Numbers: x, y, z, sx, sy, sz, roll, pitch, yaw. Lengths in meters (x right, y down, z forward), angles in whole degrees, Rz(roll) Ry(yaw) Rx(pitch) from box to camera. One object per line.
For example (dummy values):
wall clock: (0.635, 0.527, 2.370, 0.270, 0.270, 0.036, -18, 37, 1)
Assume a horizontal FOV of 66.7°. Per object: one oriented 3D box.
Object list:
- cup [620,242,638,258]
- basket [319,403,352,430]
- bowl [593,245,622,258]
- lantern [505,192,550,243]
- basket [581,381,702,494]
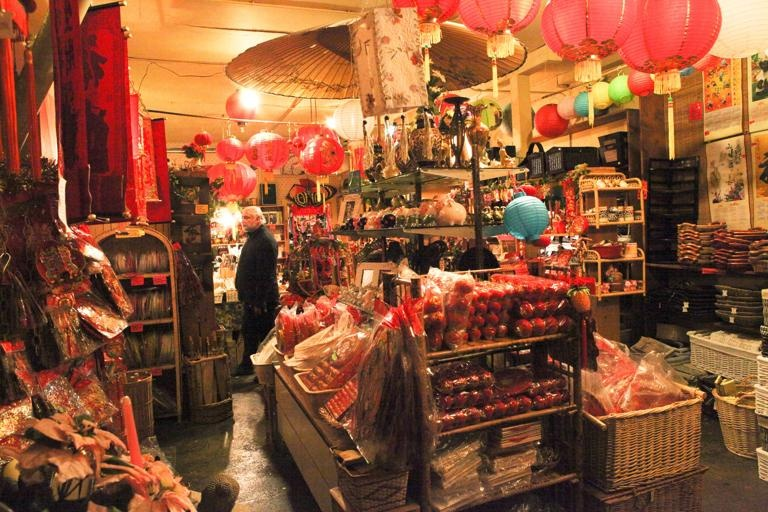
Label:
cup: (2.738, -0.053, 6.482, 0.160, 0.206, 0.249, 0, -5, 0)
basket: (-0.279, 0.913, 3.273, 0.174, 0.113, 0.060, 11, 1, 33)
bowl: (2.397, -0.040, 6.237, 0.191, 0.071, 0.183, -1, -4, 0)
lantern: (1.028, -0.298, 4.332, 0.324, 0.357, 0.326, -1, 4, 7)
basket: (1.483, 1.056, 3.418, 0.643, 0.361, 0.459, -5, 2, -31)
